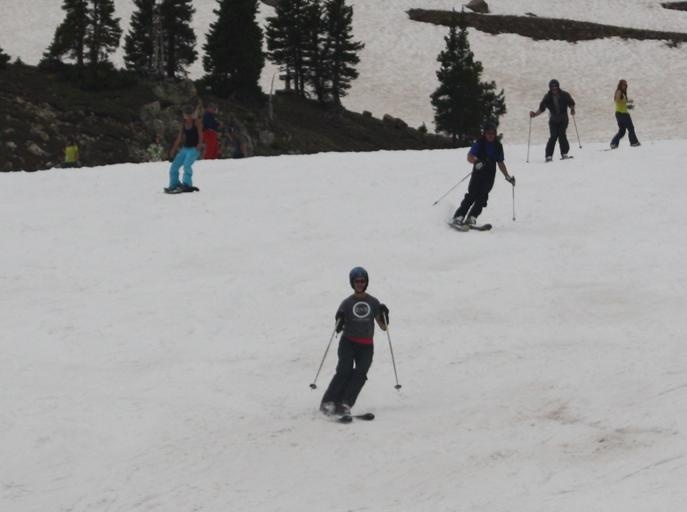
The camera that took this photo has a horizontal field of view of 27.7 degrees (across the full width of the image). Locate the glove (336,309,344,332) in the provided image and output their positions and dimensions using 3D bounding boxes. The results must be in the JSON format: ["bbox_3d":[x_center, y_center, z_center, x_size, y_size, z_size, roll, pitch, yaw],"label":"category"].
[{"bbox_3d":[-0.169,2.614,56.245,0.315,0.884,0.296,-1,13,-6],"label":"glove"}]

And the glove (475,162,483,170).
[{"bbox_3d":[6.041,-4.132,62.511,0.310,0.283,0.245,8,-2,43],"label":"glove"}]
